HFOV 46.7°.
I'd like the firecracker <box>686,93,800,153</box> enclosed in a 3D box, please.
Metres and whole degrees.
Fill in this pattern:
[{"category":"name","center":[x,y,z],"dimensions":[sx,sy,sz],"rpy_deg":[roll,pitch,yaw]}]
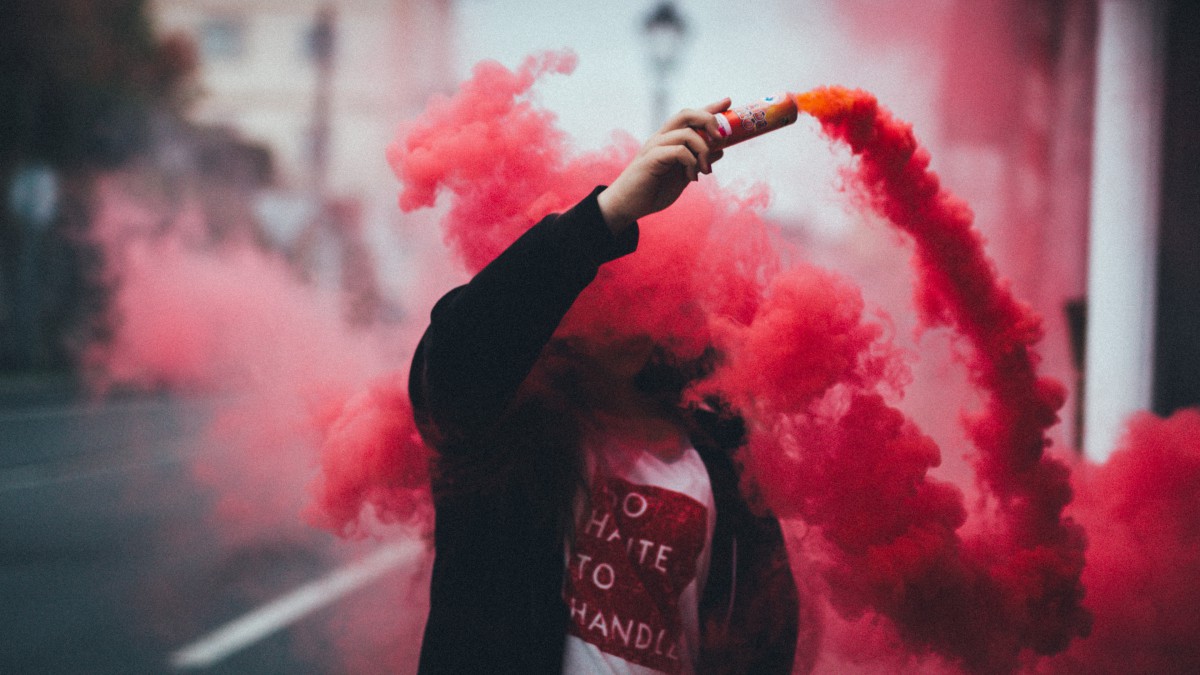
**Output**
[{"category":"firecracker","center":[0.488,-0.696,4.500],"dimensions":[0.431,0.127,0.126],"rpy_deg":[-18,19,-12]}]
